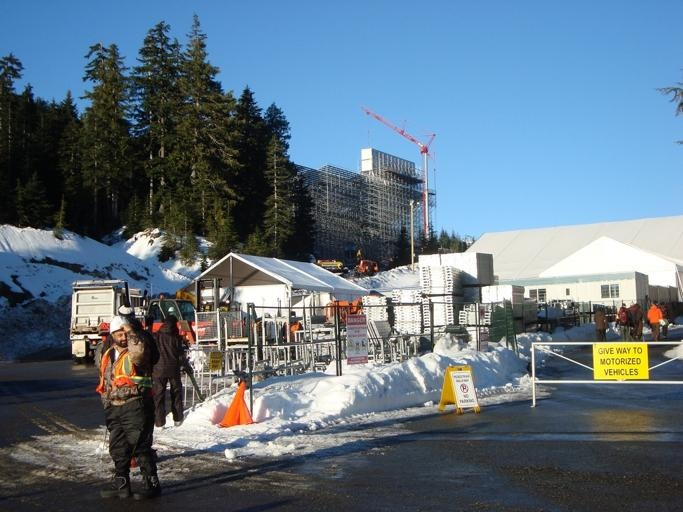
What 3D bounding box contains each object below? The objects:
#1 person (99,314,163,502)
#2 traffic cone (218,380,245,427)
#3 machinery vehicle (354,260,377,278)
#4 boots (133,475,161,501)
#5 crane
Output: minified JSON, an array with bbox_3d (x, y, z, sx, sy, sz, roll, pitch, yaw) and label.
[{"bbox_3d":[-3.633,2.617,16.456,1.131,2.905,1.380,0,0,-9],"label":"person"},{"bbox_3d":[-2.423,3.262,20.258,0.561,1.021,0.986,-1,-5,-8],"label":"traffic cone"},{"bbox_3d":[2.552,1.314,99.893,1.476,1.433,2.395,2,4,39],"label":"machinery vehicle"},{"bbox_3d":[-3.385,4.042,15.996,0.483,0.398,0.316,0,-6,-16],"label":"boots"},{"bbox_3d":[8.369,-9.499,150.249,12.139,28.480,10.436,2,1,25],"label":"crane"}]
